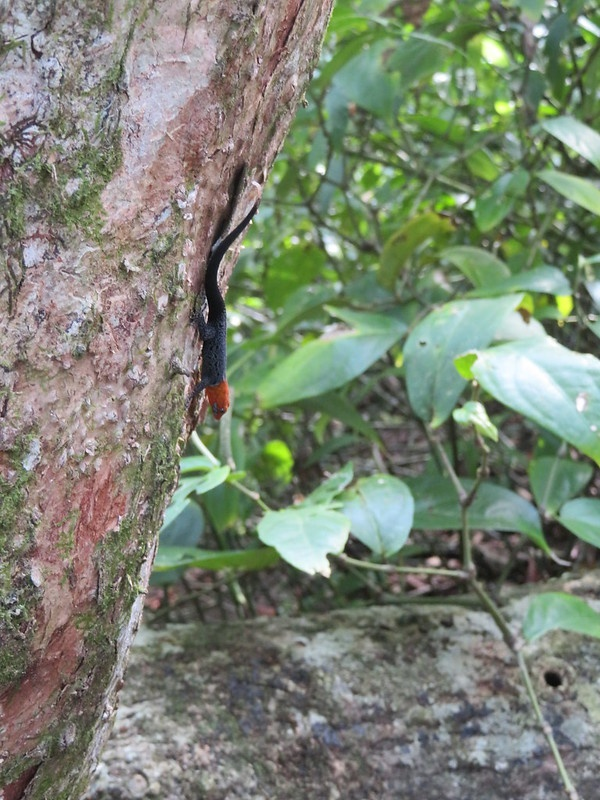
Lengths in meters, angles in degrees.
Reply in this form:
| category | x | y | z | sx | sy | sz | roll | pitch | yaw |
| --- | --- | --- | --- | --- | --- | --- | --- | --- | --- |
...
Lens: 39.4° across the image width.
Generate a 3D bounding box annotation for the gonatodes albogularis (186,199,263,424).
| category | x | y | z | sx | sy | sz | roll | pitch | yaw |
| --- | --- | --- | --- | --- | --- | --- | --- | --- | --- |
| gonatodes albogularis | -0.162 | -0.169 | 1.810 | 0.161 | 0.501 | 0.119 | 4 | 11 | 3 |
